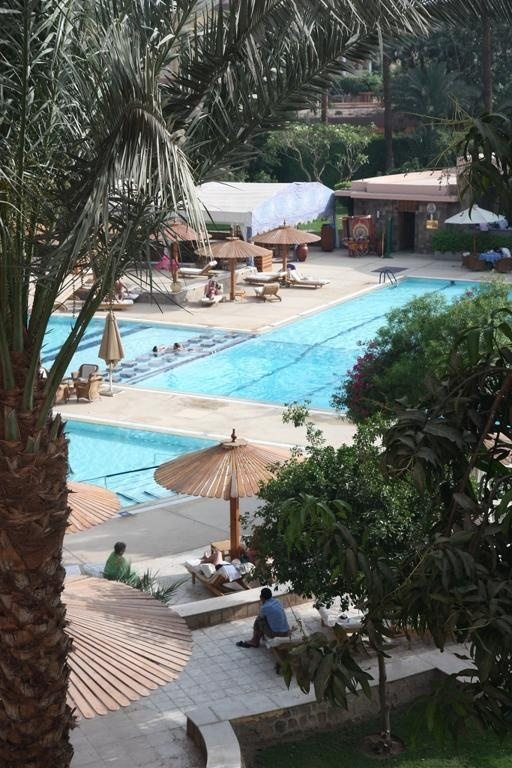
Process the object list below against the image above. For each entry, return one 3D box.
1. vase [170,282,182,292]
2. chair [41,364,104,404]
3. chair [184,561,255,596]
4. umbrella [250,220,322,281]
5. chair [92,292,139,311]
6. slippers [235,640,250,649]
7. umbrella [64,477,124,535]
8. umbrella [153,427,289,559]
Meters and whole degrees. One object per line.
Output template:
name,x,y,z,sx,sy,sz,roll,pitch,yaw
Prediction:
vase,-3.421,-4.158,27.591,0.452,0.511,0.505,-3,14,-22
chair,-3.848,0.043,13.986,0.865,0.869,1.289,5,10,26
chair,-0.623,2.963,9.873,1.000,0.523,0.542,4,6,38
umbrella,1.355,-6.060,31.360,2.909,2.920,2.759,-1,25,1
chair,-5.805,-3.545,27.524,1.409,0.804,2.937,0,5,-10
slippers,-0.170,3.454,8.501,0.089,0.065,0.155,-1,-3,-32
umbrella,-2.350,1.761,9.328,0.707,0.606,1.488,-1,5,-16
umbrella,-0.540,1.794,9.829,1.594,1.877,1.598,-5,24,-9
